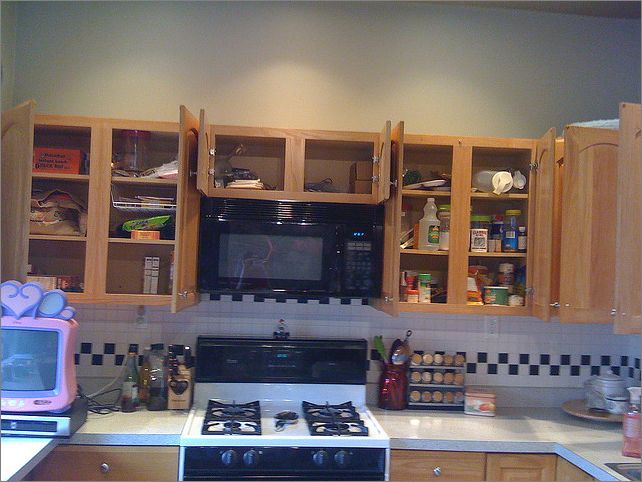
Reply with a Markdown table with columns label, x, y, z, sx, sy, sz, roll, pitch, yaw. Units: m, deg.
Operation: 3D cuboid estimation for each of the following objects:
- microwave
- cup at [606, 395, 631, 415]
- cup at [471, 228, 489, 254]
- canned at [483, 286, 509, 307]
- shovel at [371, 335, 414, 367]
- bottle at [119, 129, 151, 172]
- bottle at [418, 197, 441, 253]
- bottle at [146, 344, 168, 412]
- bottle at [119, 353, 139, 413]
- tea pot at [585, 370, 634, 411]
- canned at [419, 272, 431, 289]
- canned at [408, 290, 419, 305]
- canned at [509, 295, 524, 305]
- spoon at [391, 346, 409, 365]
| label | x | y | z | sx | sy | sz | roll | pitch | yaw |
| --- | --- | --- | --- | --- | --- | --- | --- | --- | --- |
| microwave | -0.199 | 0.022 | 3.571 | 1.108 | 0.455 | 0.562 | 1 | -7 | -2 |
| cup | 1.595 | 0.875 | 3.423 | 0.120 | 0.058 | 0.106 | -1 | 1 | -3 |
| cup | 0.860 | -0.001 | 3.466 | 0.140 | 0.147 | 0.122 | 1 | -4 | -2 |
| canned | 0.947 | 0.300 | 3.447 | 0.125 | 0.075 | 0.112 | 0 | -1 | 8 |
| shovel | 0.404 | 0.606 | 3.588 | 0.045 | 0.205 | 0.130 | 0 | -46 | -27 |
| bottle | -0.995 | -0.498 | 3.501 | 0.181 | 0.207 | 0.174 | 7 | 5 | 35 |
| bottle | 0.587 | -0.095 | 3.510 | 0.148 | 0.279 | 0.133 | 6 | 3 | 25 |
| bottle | -0.872 | 0.755 | 3.420 | 0.100 | 0.289 | 0.076 | 0 | -1 | -13 |
| bottle | -1.018 | 0.746 | 3.406 | 0.096 | 0.303 | 0.140 | 0 | -1 | -12 |
| tea pot | 1.595 | 0.818 | 3.581 | 0.224 | 0.198 | 0.253 | 3 | -1 | -43 |
| canned | 0.588 | 0.215 | 3.509 | 0.075 | 0.059 | 0.069 | -1 | -3 | 21 |
| canned | 0.501 | 0.301 | 3.454 | 0.073 | 0.062 | 0.069 | -1 | -5 | 26 |
| canned | 1.060 | 0.318 | 3.447 | 0.061 | 0.029 | 0.056 | 0 | -1 | -25 |
| spoon | 0.444 | 0.634 | 3.541 | 0.104 | 0.096 | 0.047 | 0 | -1 | -11 |
